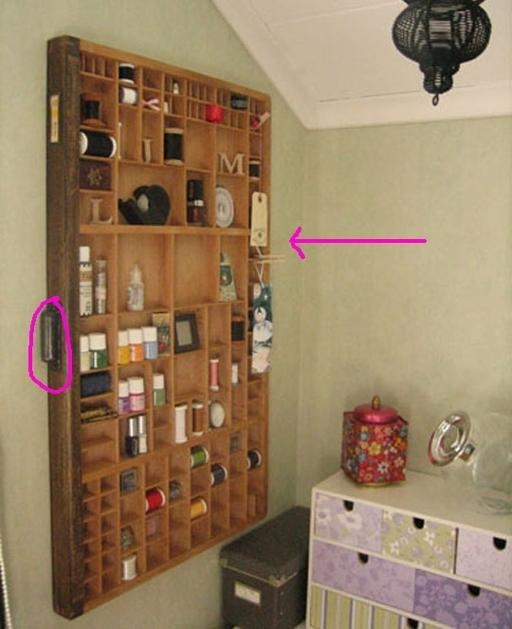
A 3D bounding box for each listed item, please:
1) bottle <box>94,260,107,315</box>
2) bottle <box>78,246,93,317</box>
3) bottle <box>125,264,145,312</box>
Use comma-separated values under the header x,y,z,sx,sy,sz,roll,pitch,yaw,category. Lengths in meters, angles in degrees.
x,y,z,sx,sy,sz,roll,pitch,yaw,category
-0.474,-0.086,1.940,0.030,0.164,0.045,3,6,33,bottle
-0.506,-0.097,1.880,0.035,0.204,0.152,-2,5,-11,bottle
-0.395,-0.086,2.068,0.062,0.145,0.139,-2,5,-10,bottle
